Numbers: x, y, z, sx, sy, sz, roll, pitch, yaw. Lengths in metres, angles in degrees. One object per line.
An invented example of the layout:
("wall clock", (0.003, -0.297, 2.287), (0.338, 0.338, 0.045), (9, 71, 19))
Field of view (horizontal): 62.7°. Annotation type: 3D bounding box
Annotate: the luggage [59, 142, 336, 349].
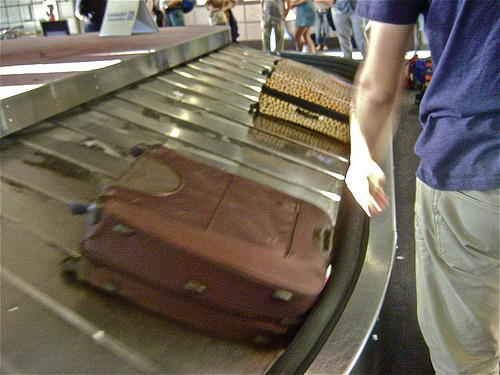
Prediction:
("luggage", (-0.181, 0.220, 1.247), (0.719, 0.241, 0.486), (20, 39, 0))
